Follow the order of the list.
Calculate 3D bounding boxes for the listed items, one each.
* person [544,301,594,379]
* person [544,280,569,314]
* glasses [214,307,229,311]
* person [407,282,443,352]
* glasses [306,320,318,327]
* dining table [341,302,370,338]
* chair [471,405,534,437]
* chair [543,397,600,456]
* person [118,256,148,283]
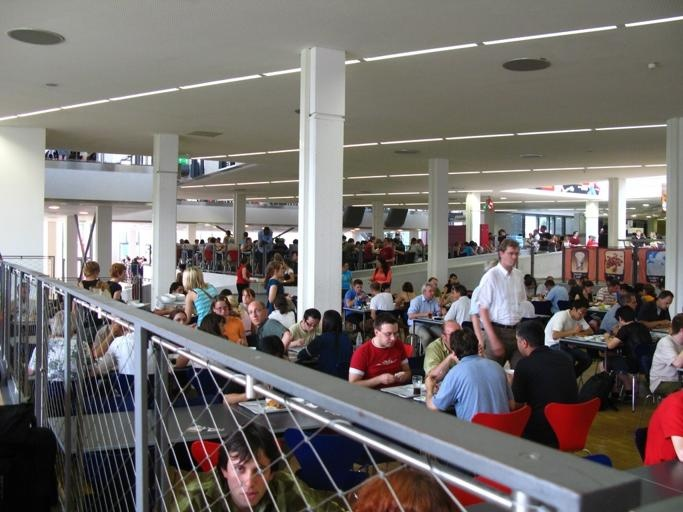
[{"bbox_3d":[2.765,1.077,6.773,0.530,1.060,0.562,5,3,-23],"label":"person"},{"bbox_3d":[3.840,0.758,9.925,0.359,0.787,0.419,-6,14,-1],"label":"person"},{"bbox_3d":[-1.184,0.533,5.485,0.143,0.057,0.085,0,0,-26],"label":"glasses"},{"bbox_3d":[1.328,1.027,8.525,0.496,1.245,0.585,-2,-1,-31],"label":"person"},{"bbox_3d":[-0.294,0.700,5.615,0.079,0.028,0.083,8,28,-34],"label":"glasses"},{"bbox_3d":[0.372,1.197,9.853,0.511,0.691,0.684,0,1,41],"label":"dining table"},{"bbox_3d":[1.008,1.072,3.497,0.444,0.186,0.148,0,0,-33],"label":"chair"},{"bbox_3d":[1.589,1.188,3.826,0.478,0.371,0.184,0,0,-29],"label":"chair"},{"bbox_3d":[-6.711,0.428,17.964,0.723,1.018,0.951,1,0,37],"label":"person"}]
